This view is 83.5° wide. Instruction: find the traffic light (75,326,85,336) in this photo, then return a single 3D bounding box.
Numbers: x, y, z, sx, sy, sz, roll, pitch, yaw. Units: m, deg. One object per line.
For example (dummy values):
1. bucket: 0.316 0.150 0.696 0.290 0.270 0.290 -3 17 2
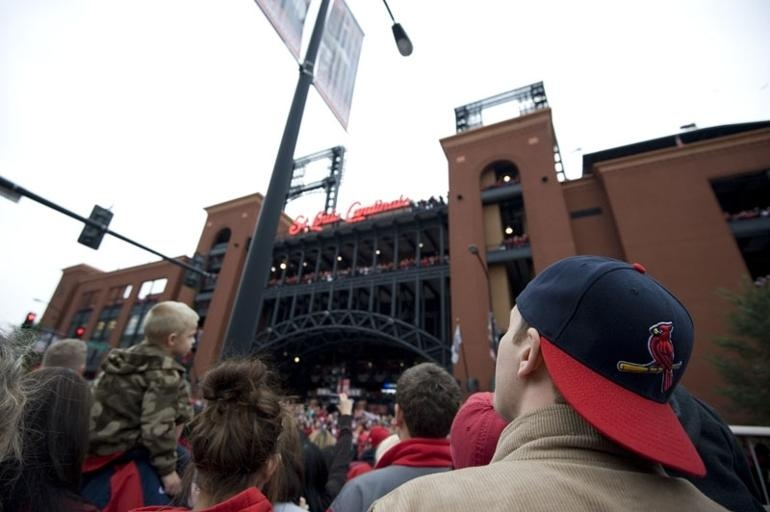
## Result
1. traffic light: -26.032 6.188 36.786 0.971 0.915 0.244 -19 -16 20
